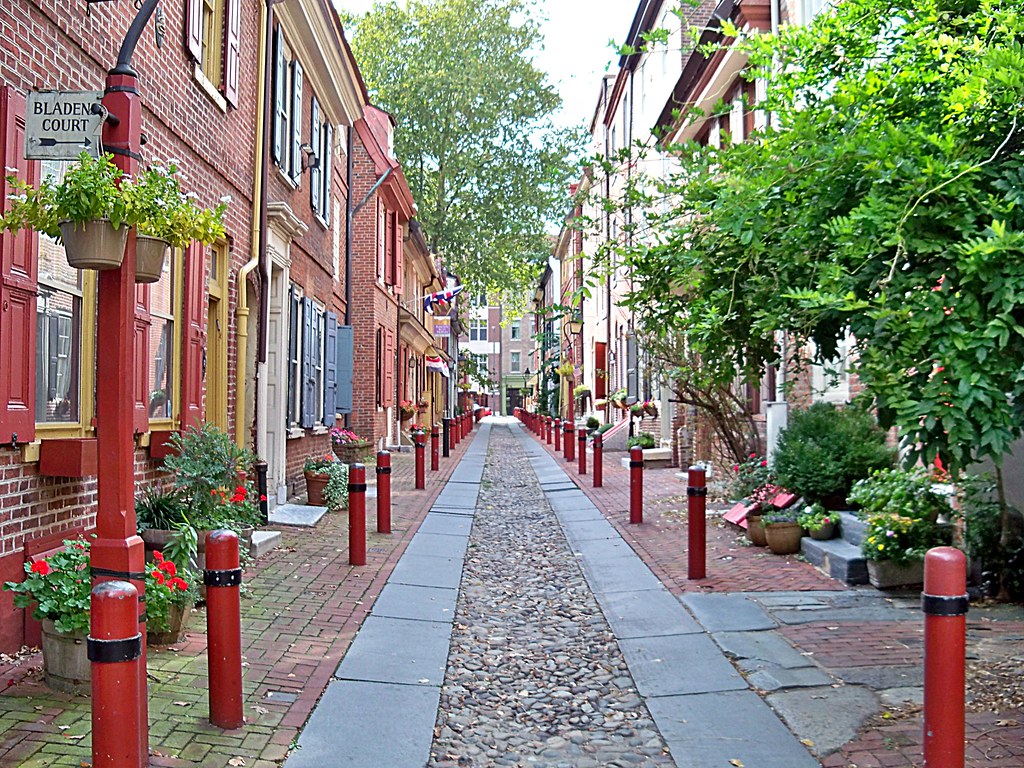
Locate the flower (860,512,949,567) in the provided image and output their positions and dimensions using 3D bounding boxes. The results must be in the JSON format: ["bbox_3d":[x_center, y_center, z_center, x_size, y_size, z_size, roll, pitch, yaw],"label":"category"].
[{"bbox_3d":[3.567,1.412,8.266,0.556,0.334,0.516,-2,8,-21],"label":"flower"}]

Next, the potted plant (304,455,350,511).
[{"bbox_3d":[-2.724,1.446,13.122,0.711,0.716,0.704,4,-9,-14],"label":"potted plant"}]

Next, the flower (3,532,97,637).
[{"bbox_3d":[-2.926,1.288,5.675,0.673,0.523,0.750,4,12,-22],"label":"flower"}]

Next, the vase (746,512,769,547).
[{"bbox_3d":[2.827,1.705,10.439,0.294,0.309,0.297,2,-10,-10],"label":"vase"}]

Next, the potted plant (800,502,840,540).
[{"bbox_3d":[3.295,1.466,9.648,0.357,0.265,0.368,1,-4,-7],"label":"potted plant"}]

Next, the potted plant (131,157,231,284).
[{"bbox_3d":[-2.005,-0.974,5.283,0.357,0.741,1.092,1,1,-5],"label":"potted plant"}]

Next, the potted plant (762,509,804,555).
[{"bbox_3d":[2.880,1.611,9.870,0.415,0.434,0.427,2,-11,-17],"label":"potted plant"}]

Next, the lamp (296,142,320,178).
[{"bbox_3d":[-3.295,-3.653,14.547,0.183,0.318,0.803,1,2,-9],"label":"lamp"}]
